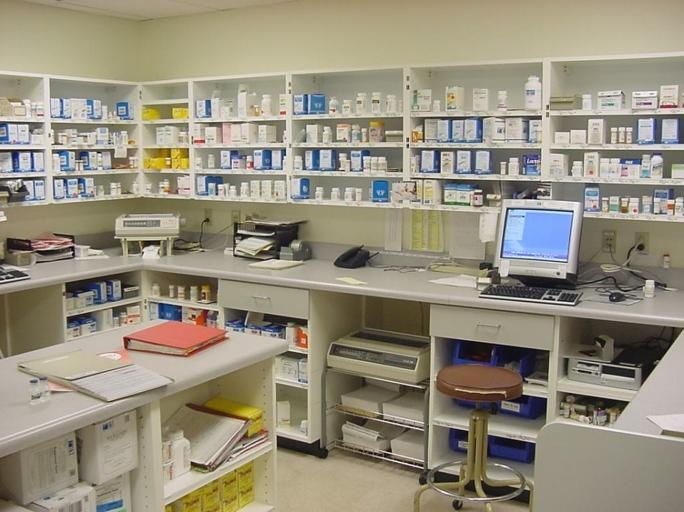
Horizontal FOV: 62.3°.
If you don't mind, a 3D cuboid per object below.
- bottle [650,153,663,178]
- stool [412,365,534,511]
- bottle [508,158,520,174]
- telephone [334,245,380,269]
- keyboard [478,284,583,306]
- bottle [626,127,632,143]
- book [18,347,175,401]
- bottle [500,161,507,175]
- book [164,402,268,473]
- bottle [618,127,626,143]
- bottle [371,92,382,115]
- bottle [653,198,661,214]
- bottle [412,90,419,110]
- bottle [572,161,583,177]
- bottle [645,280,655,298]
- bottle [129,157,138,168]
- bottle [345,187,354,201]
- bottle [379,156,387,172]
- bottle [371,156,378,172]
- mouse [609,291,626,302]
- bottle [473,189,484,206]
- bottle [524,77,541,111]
[{"bbox_3d":[1.754,-0.506,3.171,0.058,0.126,0.048,2,10,23],"label":"bottle"},{"bbox_3d":[0.700,1.012,3.032,0.607,0.905,0.590,1,10,15],"label":"stool"},{"bbox_3d":[1.068,-0.564,3.544,0.061,0.111,0.143,1,10,15],"label":"bottle"},{"bbox_3d":[0.097,0.004,4.024,0.161,0.076,0.211,6,20,39],"label":"telephone"},{"bbox_3d":[1.050,0.205,3.168,0.518,0.056,0.298,2,10,21],"label":"keyboard"},{"bbox_3d":[1.648,-0.696,3.256,0.035,0.095,0.159,3,10,25],"label":"bottle"},{"bbox_3d":[-0.925,0.437,2.125,0.381,0.042,0.233,9,11,31],"label":"book"},{"bbox_3d":[1.016,-0.553,3.556,0.040,0.070,0.064,0,9,10],"label":"bottle"},{"bbox_3d":[-0.596,0.778,2.457,0.246,0.064,0.243,12,20,27],"label":"book"},{"bbox_3d":[1.600,-0.696,3.244,0.041,0.081,0.024,0,9,8],"label":"bottle"},{"bbox_3d":[0.232,-1.043,3.854,0.059,0.147,0.117,-1,9,7],"label":"bottle"},{"bbox_3d":[1.782,-0.287,3.213,0.046,0.086,0.039,6,12,39],"label":"bottle"},{"bbox_3d":[0.482,-1.035,3.741,0.044,0.128,0.029,0,9,11],"label":"bottle"},{"bbox_3d":[1.415,-0.532,3.420,0.057,0.090,0.165,2,10,18],"label":"bottle"},{"bbox_3d":[1.721,0.174,3.183,0.058,0.087,0.141,3,10,28],"label":"bottle"},{"bbox_3d":[-1.761,-0.795,4.788,0.110,0.125,0.013,0,2,16],"label":"bottle"},{"bbox_3d":[0.061,-0.446,4.059,0.092,0.129,0.091,2,7,0],"label":"bottle"},{"bbox_3d":[0.275,-0.631,3.871,0.059,0.100,0.066,-4,9,-12],"label":"bottle"},{"bbox_3d":[0.216,-0.631,3.884,0.051,0.096,0.056,-1,9,1],"label":"bottle"},{"bbox_3d":[1.484,0.221,3.060,0.082,0.038,0.100,3,10,26],"label":"mouse"},{"bbox_3d":[0.873,-0.376,3.633,0.076,0.106,0.040,-6,10,-23],"label":"bottle"},{"bbox_3d":[1.160,-0.990,3.435,0.093,0.201,0.113,2,10,19],"label":"bottle"}]
